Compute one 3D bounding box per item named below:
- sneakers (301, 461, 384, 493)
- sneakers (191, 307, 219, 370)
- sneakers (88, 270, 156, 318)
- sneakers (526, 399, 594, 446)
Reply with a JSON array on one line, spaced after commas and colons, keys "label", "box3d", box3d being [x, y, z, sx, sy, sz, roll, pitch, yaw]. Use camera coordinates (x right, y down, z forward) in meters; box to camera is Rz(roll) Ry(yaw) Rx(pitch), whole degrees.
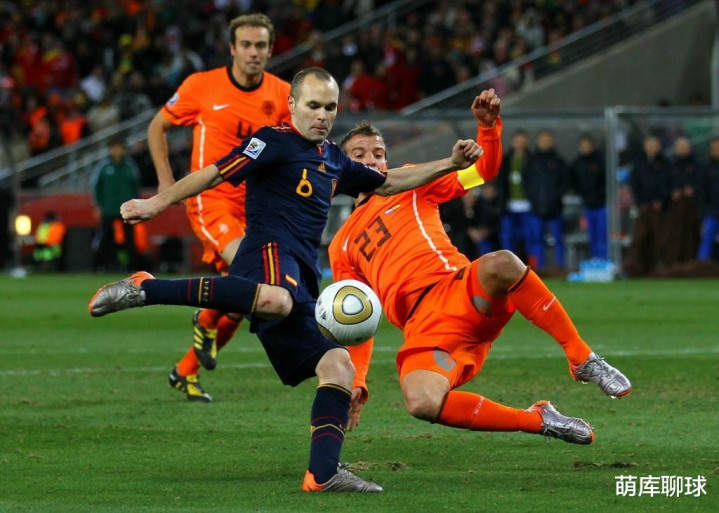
[{"label": "sneakers", "box3d": [-0.120, 1.465, 7.587, 0.576, 0.209, 0.191, 1, -11, -1]}, {"label": "sneakers", "box3d": [-1.283, 0.674, 9.538, 0.225, 0.502, 0.184, -12, 0, 40]}, {"label": "sneakers", "box3d": [-1.627, 0.276, 7.857, 0.528, 0.203, 0.223, -14, 30, -5]}, {"label": "sneakers", "box3d": [1.393, 1.151, 8.012, 0.402, 0.175, 0.269, 8, 20, 20]}]
